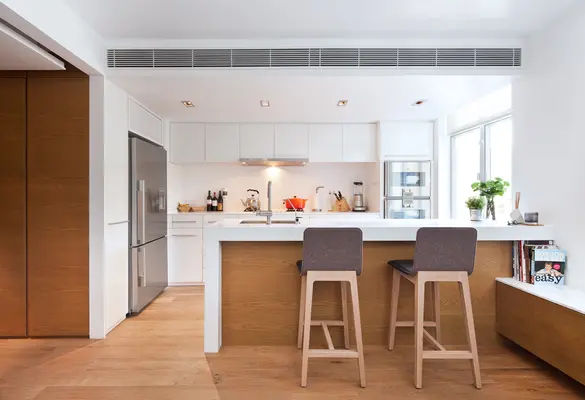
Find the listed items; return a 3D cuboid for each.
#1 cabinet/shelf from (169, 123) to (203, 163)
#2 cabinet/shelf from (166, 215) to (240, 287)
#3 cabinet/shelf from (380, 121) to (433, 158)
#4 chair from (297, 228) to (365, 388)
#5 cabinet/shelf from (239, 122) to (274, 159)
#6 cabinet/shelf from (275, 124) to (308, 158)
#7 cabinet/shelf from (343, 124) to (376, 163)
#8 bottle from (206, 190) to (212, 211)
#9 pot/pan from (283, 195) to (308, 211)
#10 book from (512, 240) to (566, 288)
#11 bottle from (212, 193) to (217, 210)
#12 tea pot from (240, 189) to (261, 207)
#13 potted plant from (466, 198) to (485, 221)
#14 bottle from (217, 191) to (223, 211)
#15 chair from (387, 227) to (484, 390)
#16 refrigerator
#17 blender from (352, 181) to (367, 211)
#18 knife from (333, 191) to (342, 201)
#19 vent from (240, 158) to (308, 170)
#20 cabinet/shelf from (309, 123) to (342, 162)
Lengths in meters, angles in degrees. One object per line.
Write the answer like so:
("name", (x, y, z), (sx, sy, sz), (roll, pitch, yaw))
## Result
("cabinet/shelf", (-1.534, -0.840, 6.406), (0.658, 0.648, 0.356), (0, -1, -5))
("cabinet/shelf", (-1.496, 0.764, 6.622), (0.656, 1.043, 1.217), (-11, -12, 43))
("cabinet/shelf", (1.614, -0.854, 6.332), (1.009, 0.610, 0.491), (0, 2, 5))
("chair", (0.365, 0.944, 4.137), (0.642, 1.118, 0.565), (1, 0, 0))
("cabinet/shelf", (-0.505, -0.880, 6.434), (0.597, 0.510, 0.257), (0, -1, -1))
("cabinet/shelf", (-0.077, -0.874, 6.565), (0.621, 0.518, 0.294), (-5, 9, -34))
("cabinet/shelf", (0.988, -0.855, 6.476), (0.621, 0.620, 0.338), (0, -1, 1))
("bottle", (-1.239, 0.014, 6.727), (0.081, 0.306, 0.235), (1, 0, -12))
("pot/pan", (0.056, 0.058, 6.320), (0.289, 0.161, 0.218), (0, -6, -3))
("book", (2.372, 0.592, 4.473), (0.573, 0.494, 0.399), (1, -2, 8))
("bottle", (-1.160, 0.018, 6.745), (0.080, 0.182, 0.207), (1, 0, -10))
("tea pot", (-0.608, -0.021, 6.818), (0.340, 0.274, 0.217), (-1, -2, 12))
("potted plant", (1.975, 0.114, 4.905), (0.234, 0.267, 0.258), (1, -2, -14))
("bottle", (-1.074, 0.011, 6.779), (0.083, 0.200, 0.146), (1, 0, -5))
("chair", (1.335, 0.945, 4.180), (0.838, 1.300, 0.666), (1, 0, 3))
("refrigerator", (-1.779, 0.283, 5.489), (0.275, 2.094, 0.815), (1, 1, -3))
("blender", (1.036, -0.063, 6.763), (0.220, 0.375, 0.342), (1, 0, 8))
("knife", (0.704, -0.058, 6.852), (0.070, 0.029, 0.221), (-3, 22, -1))
("vent", (-0.257, -0.558, 6.642), (1.005, 0.088, 0.507), (1, 0, -3))
("cabinet/shelf", (0.488, -0.863, 6.468), (0.613, 0.545, 0.295), (0, -1, 0))
